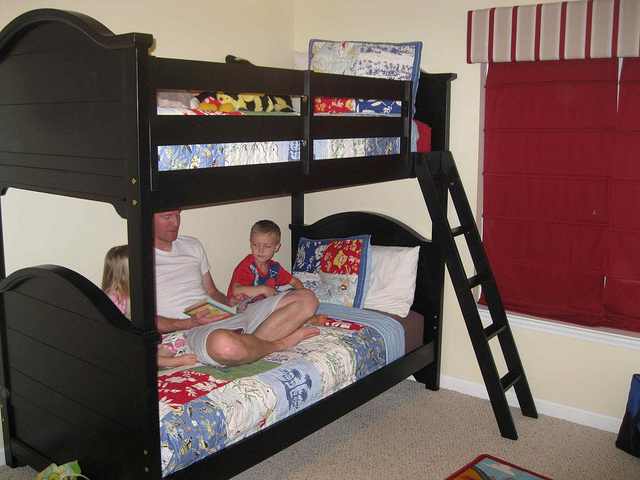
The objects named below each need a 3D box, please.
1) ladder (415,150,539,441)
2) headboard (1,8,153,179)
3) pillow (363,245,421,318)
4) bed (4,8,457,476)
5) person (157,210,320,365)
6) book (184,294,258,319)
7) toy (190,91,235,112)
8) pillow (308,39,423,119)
[{"bbox_3d":[1.044,0.420,3.494,0.532,1.956,0.693,-8,12,-40],"label":"ladder"},{"bbox_3d":[-1.017,-0.595,2.191,0.931,0.644,0.126,9,15,32],"label":"headboard"},{"bbox_3d":[0.477,0.284,3.649,0.425,0.451,0.133,6,-5,23],"label":"pillow"},{"bbox_3d":[-0.308,0.021,3.137,1.514,2.307,2.555,10,16,36],"label":"bed"},{"bbox_3d":[-0.509,0.315,3.174,0.861,0.963,0.755,3,19,13],"label":"person"},{"bbox_3d":[-0.559,0.367,2.899,0.205,0.077,0.145,26,-31,-33],"label":"book"},{"bbox_3d":[-0.508,-0.649,2.563,0.200,0.089,0.212,-2,14,-10],"label":"toy"},{"bbox_3d":[0.260,-1.049,3.287,0.806,0.585,0.534,10,13,35],"label":"pillow"}]
